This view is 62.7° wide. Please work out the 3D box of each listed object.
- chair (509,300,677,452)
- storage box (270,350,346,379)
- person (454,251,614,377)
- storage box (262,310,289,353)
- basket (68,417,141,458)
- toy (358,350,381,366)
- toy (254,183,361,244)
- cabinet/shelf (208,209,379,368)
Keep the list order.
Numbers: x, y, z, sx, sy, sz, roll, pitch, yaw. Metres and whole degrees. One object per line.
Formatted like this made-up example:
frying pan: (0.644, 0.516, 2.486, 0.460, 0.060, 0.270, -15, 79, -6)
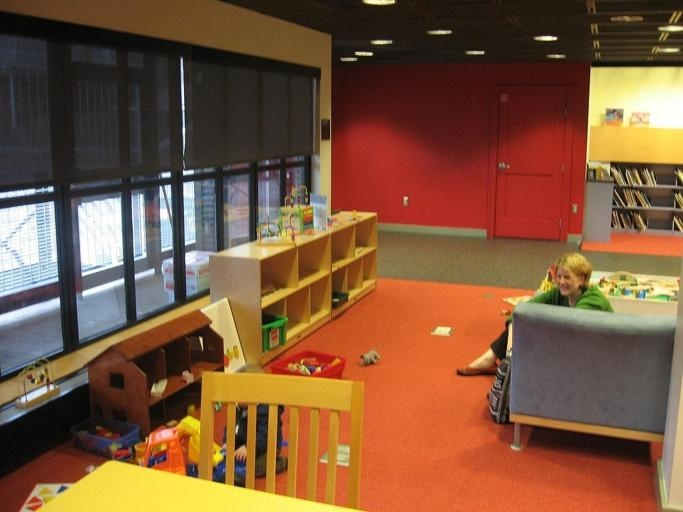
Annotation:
chair: (1.740, 0.663, 4.075, 0.896, 0.954, 0.953, 2, 8, 18)
storage box: (-0.298, 0.934, 4.827, 0.413, 0.140, 0.433, 0, 5, 15)
person: (1.461, 0.437, 4.165, 1.218, 0.932, 0.529, -2, 9, -7)
storage box: (-0.661, 0.723, 5.246, 0.305, 0.211, 0.233, 3, 8, 35)
basket: (-1.685, 1.272, 3.972, 0.415, 0.148, 0.264, 4, 11, 23)
toy: (0.253, 0.959, 5.363, 0.251, 0.159, 0.084, -9, 10, -19)
toy: (-0.446, -0.553, 6.462, 0.519, 0.717, 1.859, 2, 9, 22)
cabinet/shelf: (-0.358, 0.217, 6.294, 0.573, 0.960, 2.370, 2, 15, 31)
